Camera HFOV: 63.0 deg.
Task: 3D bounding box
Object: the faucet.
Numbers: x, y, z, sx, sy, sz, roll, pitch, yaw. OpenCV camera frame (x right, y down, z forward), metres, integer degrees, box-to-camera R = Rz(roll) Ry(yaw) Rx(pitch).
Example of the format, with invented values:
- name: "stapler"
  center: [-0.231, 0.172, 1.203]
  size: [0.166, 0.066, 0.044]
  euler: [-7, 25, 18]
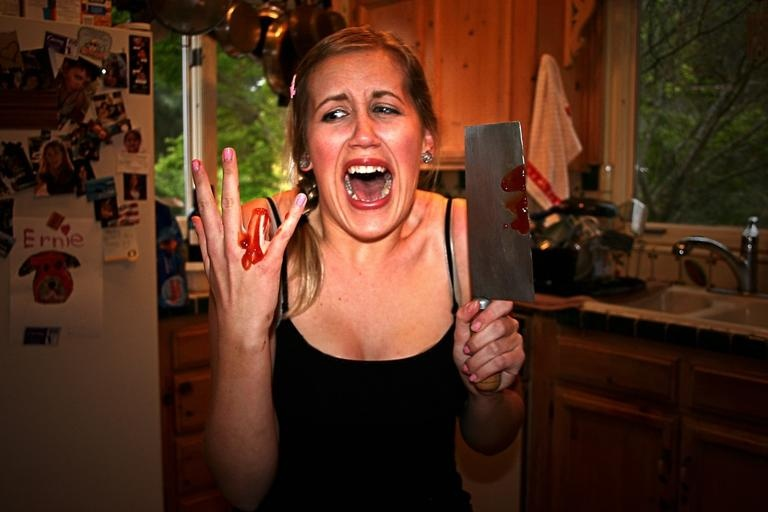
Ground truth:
- name: "faucet"
  center: [1.466, -0.011, 2.761]
  size: [0.369, 0.320, 0.290]
  euler: [1, 8, 18]
